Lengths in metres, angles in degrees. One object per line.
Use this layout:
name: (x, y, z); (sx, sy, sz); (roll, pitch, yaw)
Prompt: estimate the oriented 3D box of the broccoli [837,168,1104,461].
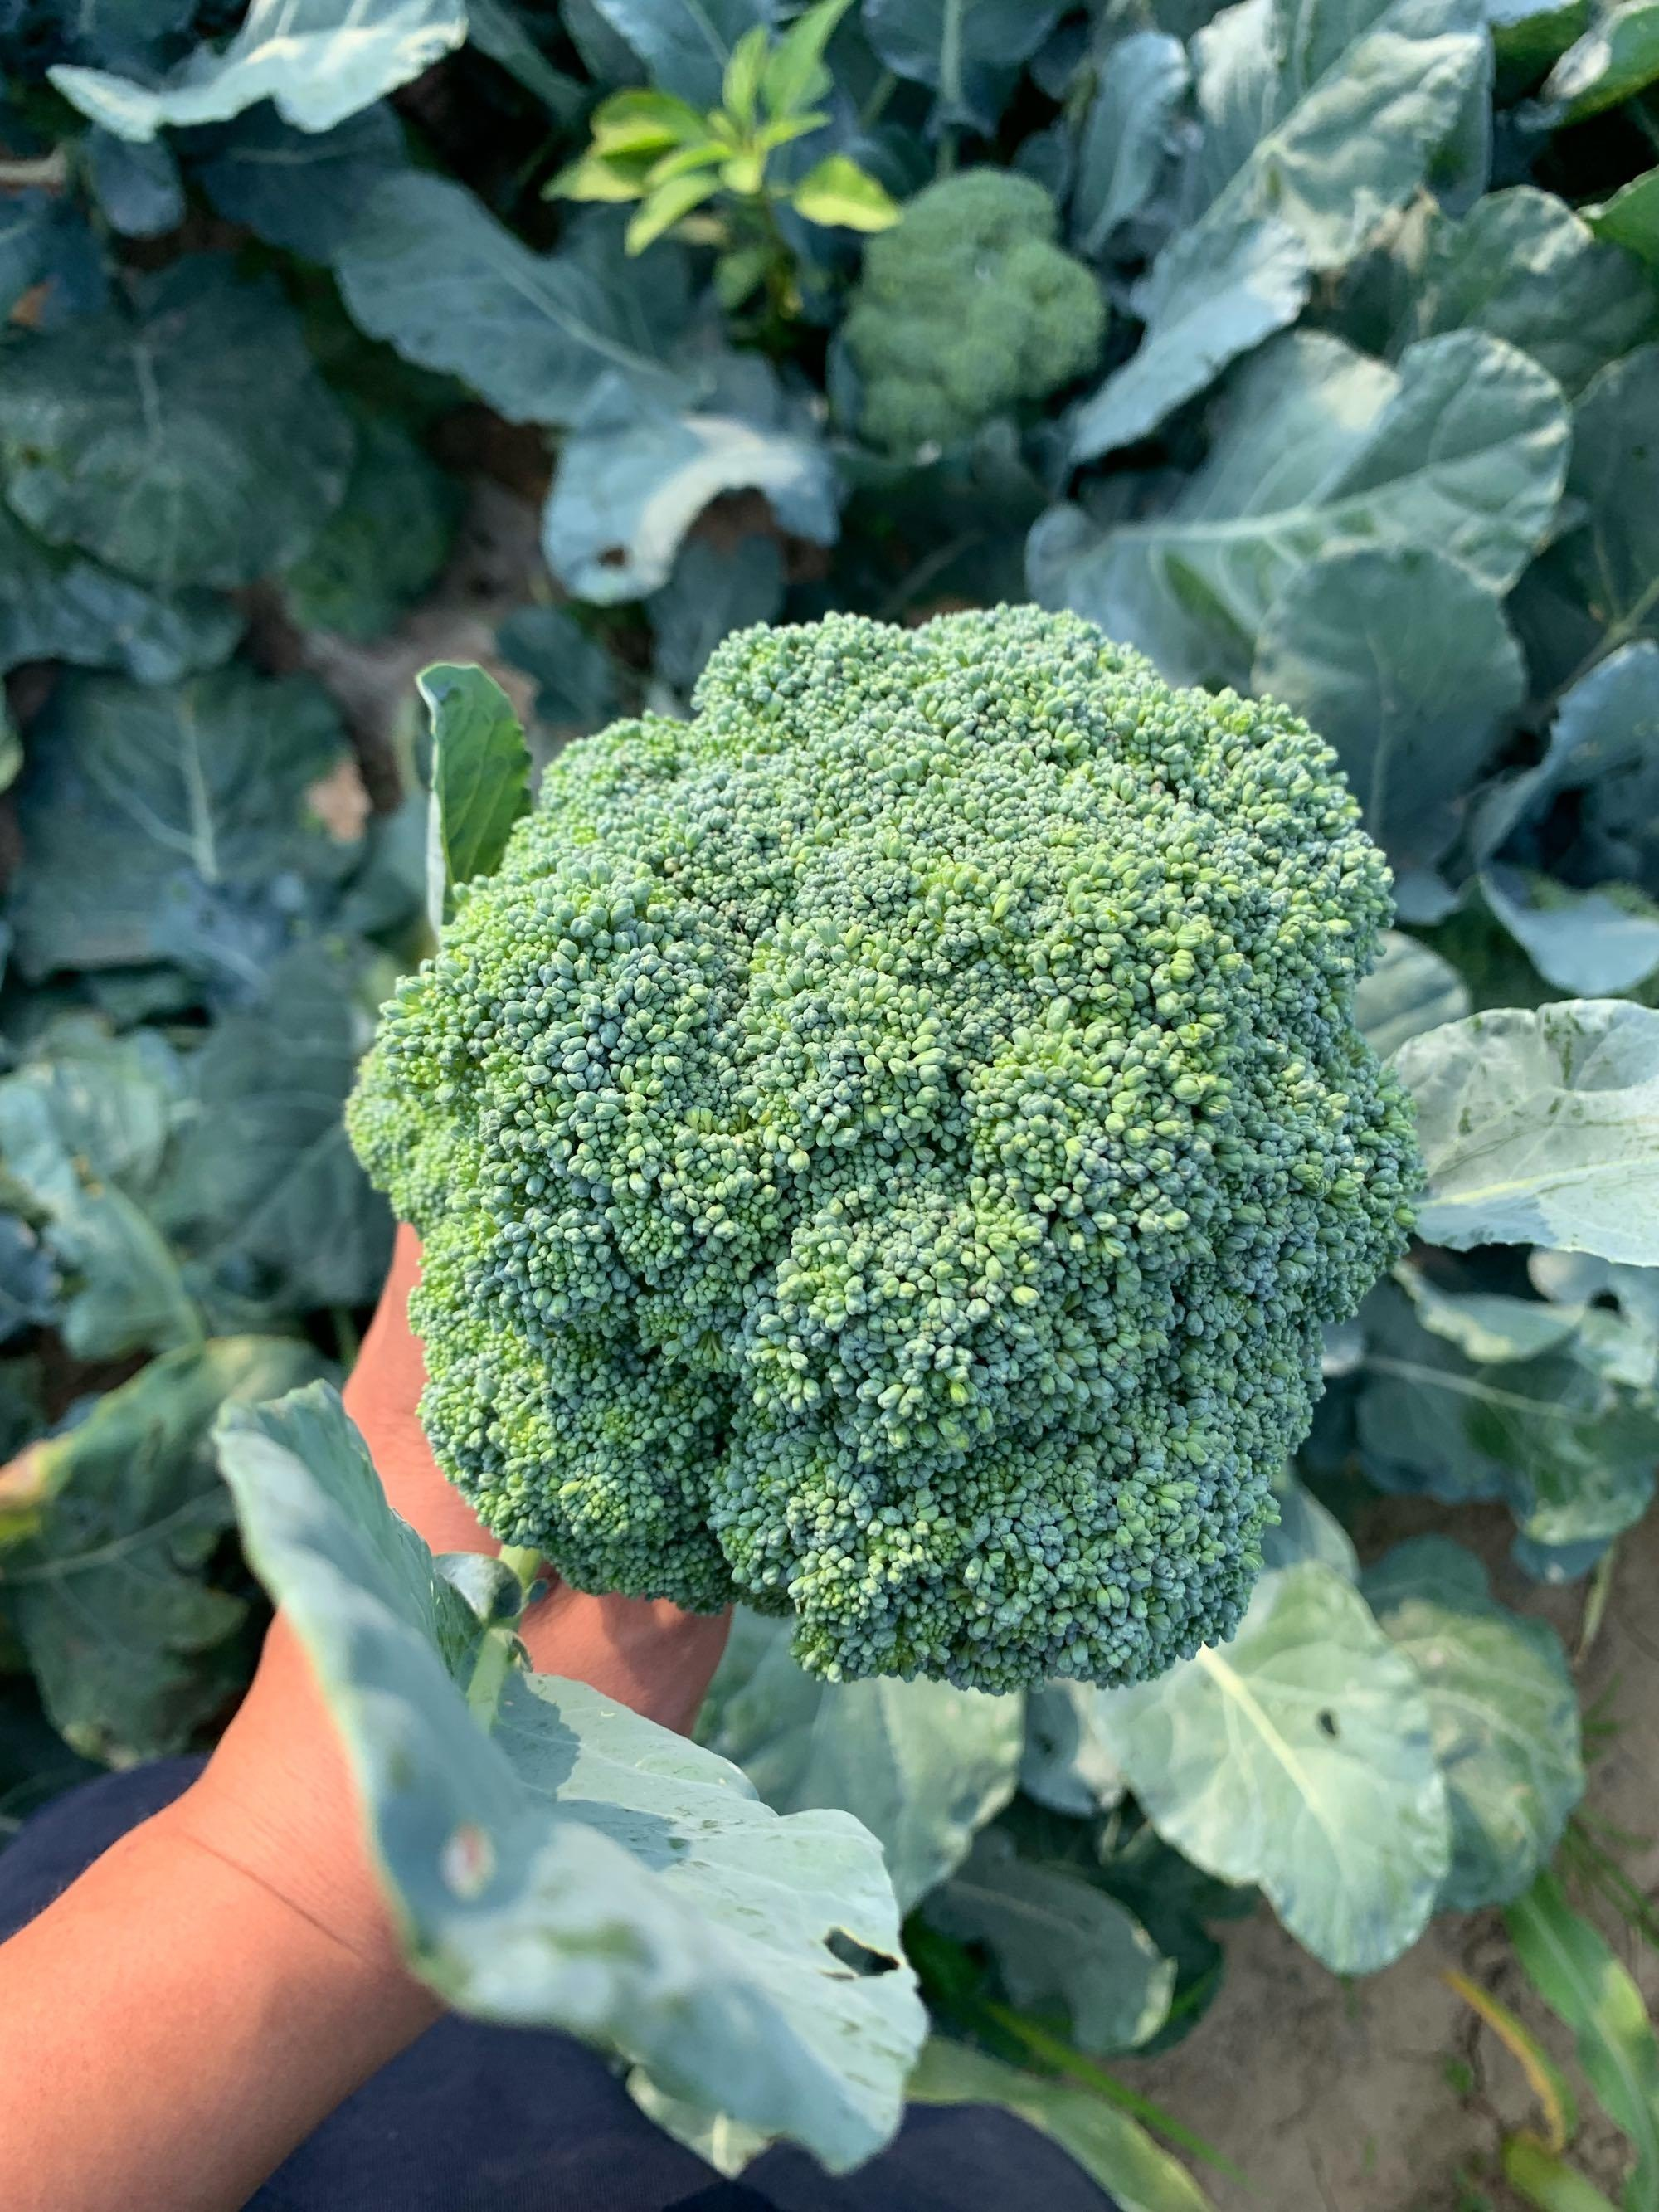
broccoli: (0.127, -0.785, 1.999); (0.256, 0.188, 0.193); (-28, 78, -1)
